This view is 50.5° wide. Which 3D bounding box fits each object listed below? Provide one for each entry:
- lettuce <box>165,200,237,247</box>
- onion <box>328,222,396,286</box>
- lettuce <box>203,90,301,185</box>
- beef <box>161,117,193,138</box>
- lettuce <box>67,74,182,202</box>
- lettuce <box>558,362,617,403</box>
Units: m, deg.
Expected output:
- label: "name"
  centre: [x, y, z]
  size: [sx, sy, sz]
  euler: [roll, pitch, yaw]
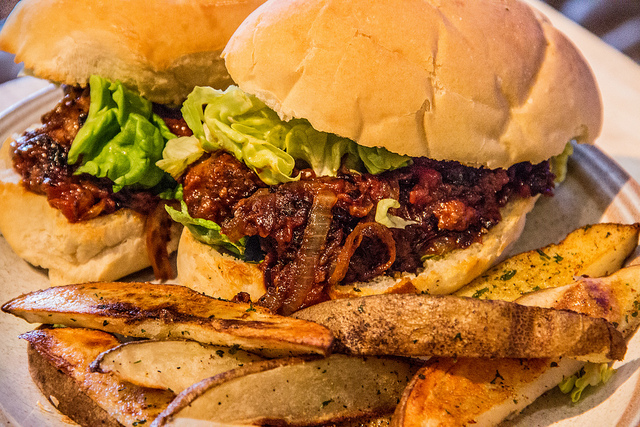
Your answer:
- label: "lettuce"
  centre: [-0.879, 0.113, 4.931]
  size: [0.468, 0.338, 0.415]
  euler: [-3, 15, -6]
- label: "onion"
  centre: [0.306, 0.274, 4.774]
  size: [0.415, 0.490, 0.196]
  euler: [10, 33, -28]
- label: "lettuce"
  centre: [-0.538, -0.536, 4.956]
  size: [0.285, 0.597, 0.717]
  euler: [-42, 80, -20]
- label: "beef"
  centre: [-1.115, -0.667, 5.302]
  size: [0.224, 0.082, 0.167]
  euler: [38, 57, 2]
- label: "lettuce"
  centre: [-1.491, -0.566, 5.093]
  size: [0.868, 0.346, 0.907]
  euler: [8, 67, -31]
- label: "lettuce"
  centre: [1.786, 1.081, 4.509]
  size: [0.226, 0.339, 0.142]
  euler: [46, 22, 31]
